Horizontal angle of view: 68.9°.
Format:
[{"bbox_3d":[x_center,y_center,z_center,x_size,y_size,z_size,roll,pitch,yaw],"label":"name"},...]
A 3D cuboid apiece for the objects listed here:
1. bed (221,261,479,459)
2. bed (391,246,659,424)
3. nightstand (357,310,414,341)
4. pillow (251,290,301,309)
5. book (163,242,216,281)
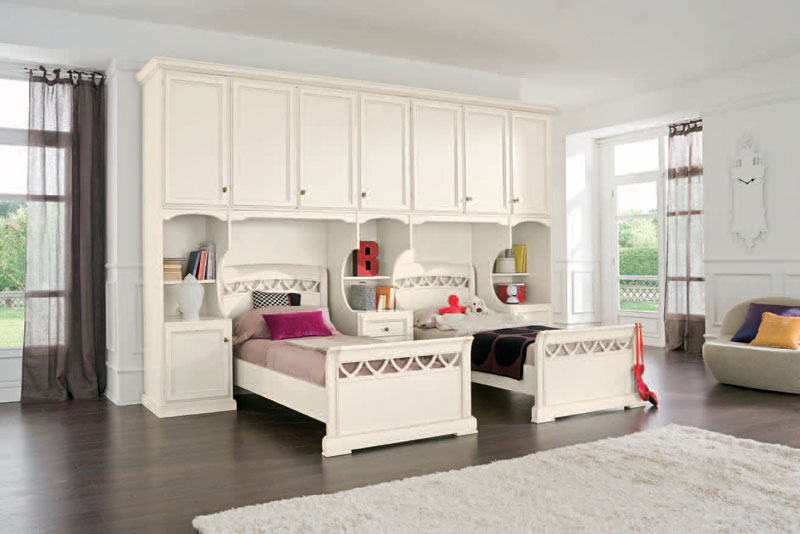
[{"bbox_3d":[-0.679,0.782,6.096,1.592,1.363,2.487,-1,2,-31],"label":"bed"},{"bbox_3d":[1.578,0.781,6.971,1.578,1.378,2.320,-2,-2,-14],"label":"bed"},{"bbox_3d":[-0.158,0.695,6.931,0.656,0.406,0.358,0,0,-32],"label":"nightstand"},{"bbox_3d":[-1.451,0.387,6.837,0.411,0.230,0.112,-4,-19,-23],"label":"pillow"},{"bbox_3d":[-2.291,-0.050,6.461,0.406,0.217,0.524,1,-3,-32],"label":"book"}]
